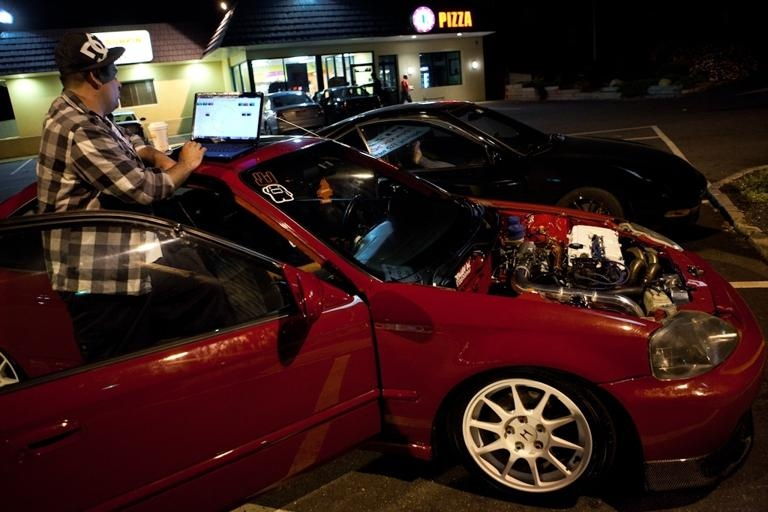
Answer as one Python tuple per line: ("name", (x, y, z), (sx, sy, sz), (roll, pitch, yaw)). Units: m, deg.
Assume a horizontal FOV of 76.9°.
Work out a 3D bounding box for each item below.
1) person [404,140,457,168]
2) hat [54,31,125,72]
("person", (0.640, -1.197, 6.081), (0.790, 0.241, 0.514), (-2, -23, 4))
("hat", (-1.722, -1.222, 2.946), (0.395, 0.182, 0.244), (-18, 43, -9))
